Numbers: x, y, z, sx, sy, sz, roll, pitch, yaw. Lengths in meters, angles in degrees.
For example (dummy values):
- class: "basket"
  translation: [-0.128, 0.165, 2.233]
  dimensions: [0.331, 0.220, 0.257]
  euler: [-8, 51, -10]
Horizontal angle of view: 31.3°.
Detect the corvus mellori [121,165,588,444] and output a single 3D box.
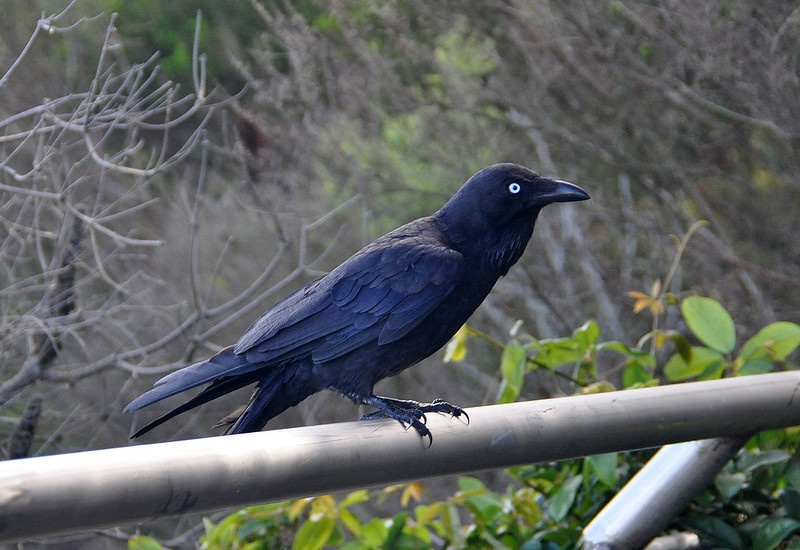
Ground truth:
- class: "corvus mellori"
  translation: [-0.111, 0.058, 3.481]
  dimensions: [1.125, 0.717, 0.407]
  euler: [1, 6, 16]
